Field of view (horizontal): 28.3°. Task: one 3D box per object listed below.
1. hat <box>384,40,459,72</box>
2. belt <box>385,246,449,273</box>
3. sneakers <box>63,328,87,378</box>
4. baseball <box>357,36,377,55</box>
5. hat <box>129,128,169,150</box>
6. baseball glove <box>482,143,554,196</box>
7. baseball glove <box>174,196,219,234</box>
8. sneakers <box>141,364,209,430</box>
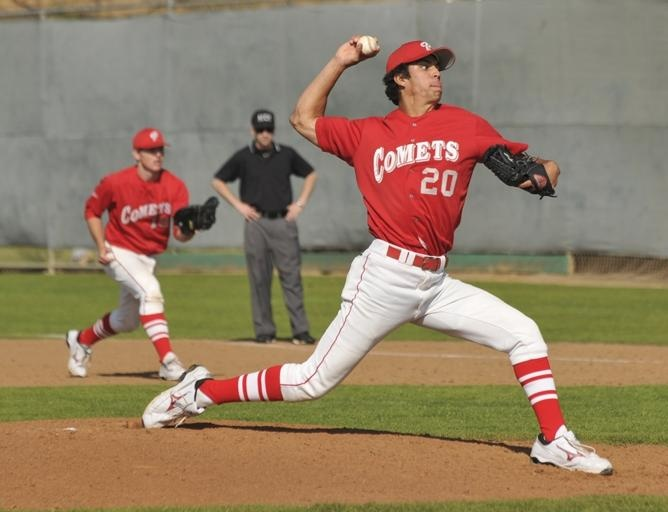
[{"bbox_3d":[0.885,-2.108,14.052,0.546,0.297,0.367,-17,-9,35],"label":"hat"},{"bbox_3d":[0.851,0.043,13.794,0.359,0.113,0.350,17,-6,-8],"label":"belt"},{"bbox_3d":[-3.128,1.164,16.201,0.269,0.604,0.218,-9,1,21],"label":"sneakers"},{"bbox_3d":[0.345,-2.211,13.895,0.172,0.203,0.110,-5,-11,-10],"label":"baseball"},{"bbox_3d":[-2.304,-1.347,15.893,0.343,0.239,0.465,-7,0,-35],"label":"hat"},{"bbox_3d":[1.910,-0.852,13.885,0.709,0.282,0.433,38,38,0],"label":"baseball glove"},{"bbox_3d":[-1.582,-0.489,15.666,0.438,0.242,0.595,-13,18,-19],"label":"baseball glove"},{"bbox_3d":[-1.751,1.581,14.654,0.288,0.633,0.230,54,3,39],"label":"sneakers"}]
